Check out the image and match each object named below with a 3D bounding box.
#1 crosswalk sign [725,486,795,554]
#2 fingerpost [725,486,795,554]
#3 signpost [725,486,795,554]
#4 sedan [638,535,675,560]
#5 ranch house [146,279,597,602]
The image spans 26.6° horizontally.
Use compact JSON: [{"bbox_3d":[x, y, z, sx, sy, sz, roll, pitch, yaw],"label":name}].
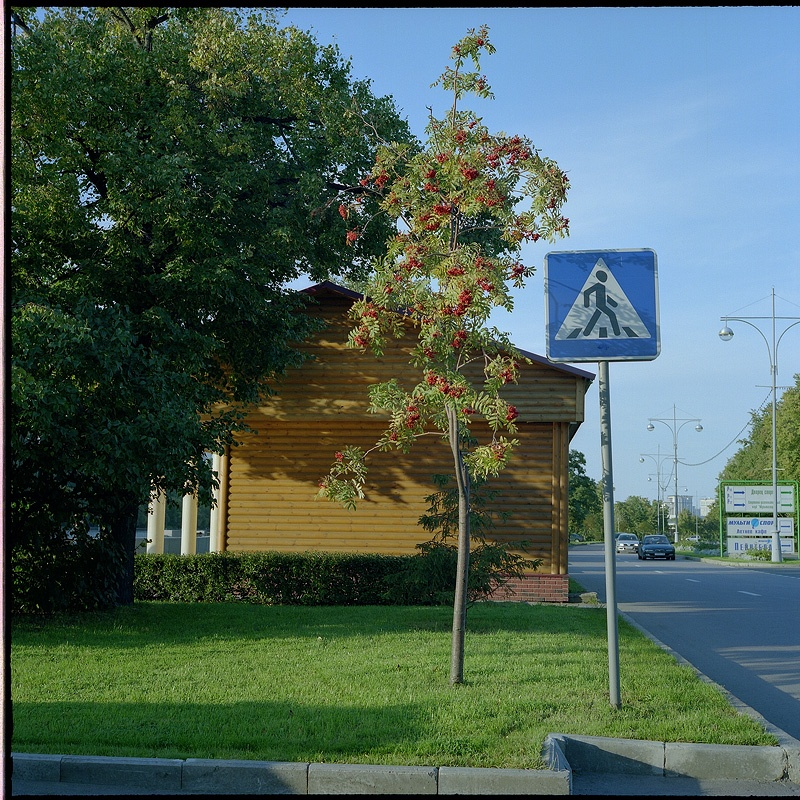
[{"bbox_3d":[11.541,3.703,54.144,1.899,2.402,0.084,2,7,34],"label":"crosswalk sign"},{"bbox_3d":[11.541,3.703,54.144,1.899,2.402,0.084,2,7,34],"label":"fingerpost"},{"bbox_3d":[11.541,3.703,54.144,1.899,2.402,0.084,2,7,34],"label":"signpost"},{"bbox_3d":[8.930,5.058,58.979,0.941,0.945,2.545,1,-1,9],"label":"sedan"},{"bbox_3d":[-0.501,0.628,26.651,3.657,2.722,6.791,-1,-8,9],"label":"ranch house"}]
